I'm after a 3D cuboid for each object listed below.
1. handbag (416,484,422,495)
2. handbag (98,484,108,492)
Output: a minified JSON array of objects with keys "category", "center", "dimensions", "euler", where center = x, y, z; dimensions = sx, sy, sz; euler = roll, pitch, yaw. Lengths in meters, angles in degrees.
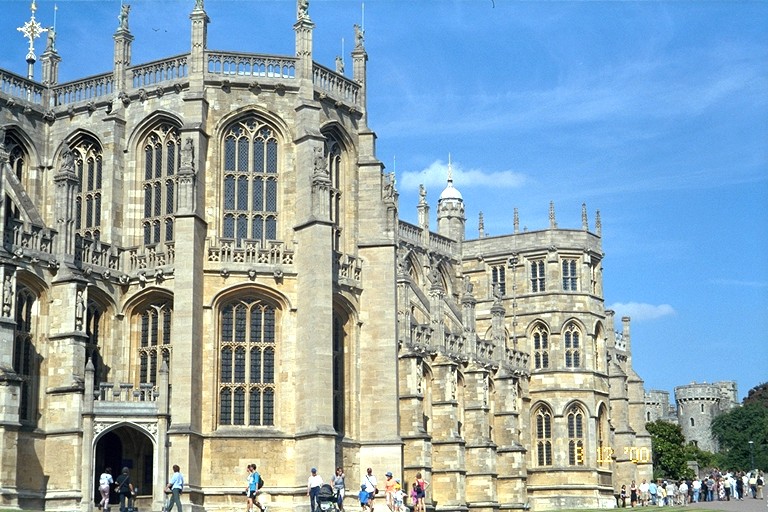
[{"category":"handbag","center":[2.014,13.261,82.489],"dimensions":[0.215,0.527,0.945],"euler":[-6,-16,17]},{"category":"handbag","center":[-14.929,12.447,77.944],"dimensions":[0.488,0.419,0.286],"euler":[-8,-13,36]}]
